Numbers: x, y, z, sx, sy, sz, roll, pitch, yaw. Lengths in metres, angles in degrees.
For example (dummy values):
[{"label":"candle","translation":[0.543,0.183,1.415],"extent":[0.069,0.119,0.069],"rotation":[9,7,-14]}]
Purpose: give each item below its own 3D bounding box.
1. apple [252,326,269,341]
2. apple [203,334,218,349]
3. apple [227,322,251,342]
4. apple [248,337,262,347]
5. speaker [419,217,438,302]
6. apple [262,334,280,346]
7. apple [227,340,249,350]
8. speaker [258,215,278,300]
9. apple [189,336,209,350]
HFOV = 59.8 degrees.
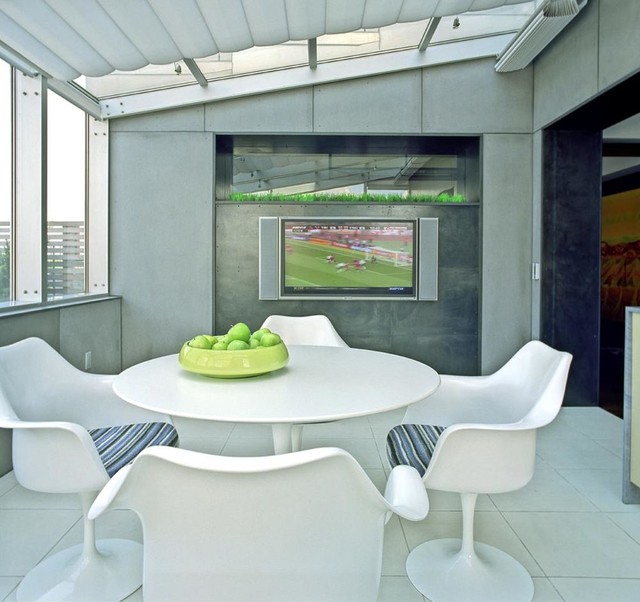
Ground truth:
[{"label":"apple","translation":[-0.249,0.140,2.335],"extent":[0.051,0.026,0.051],"rotation":[-1,5,40]},{"label":"apple","translation":[-0.442,0.170,2.279],"extent":[0.059,0.036,0.046],"rotation":[9,1,-24]},{"label":"apple","translation":[-0.329,0.129,2.286],"extent":[0.077,0.093,0.079],"rotation":[-22,5,-7]},{"label":"apple","translation":[-0.265,0.172,2.249],"extent":[0.036,0.018,0.036],"rotation":[-8,16,-37]},{"label":"speaker","translation":[0.926,-0.338,4.723],"extent":[0.174,0.763,0.074],"rotation":[1,-18,10]},{"label":"apple","translation":[-0.196,0.155,2.245],"extent":[0.051,0.049,0.048],"rotation":[0,-1,-36]},{"label":"apple","translation":[-0.326,0.166,2.171],"extent":[0.046,0.024,0.046],"rotation":[-4,8,-42]},{"label":"speaker","translation":[-0.420,-0.349,4.677],"extent":[0.180,0.683,0.068],"rotation":[2,4,27]},{"label":"apple","translation":[-0.488,0.171,2.255],"extent":[0.050,0.054,0.067],"rotation":[17,-5,-32]}]
